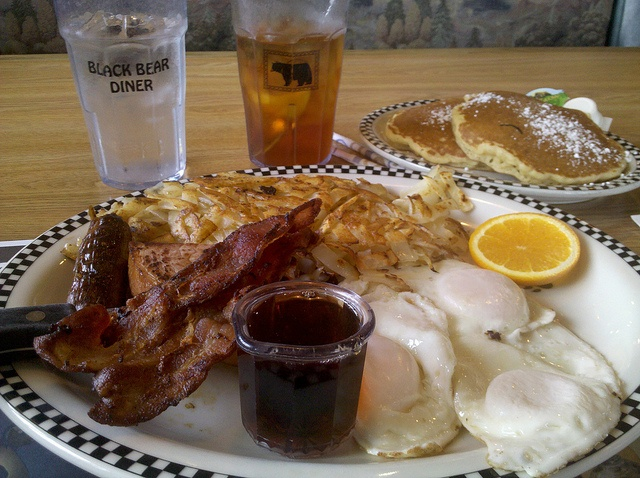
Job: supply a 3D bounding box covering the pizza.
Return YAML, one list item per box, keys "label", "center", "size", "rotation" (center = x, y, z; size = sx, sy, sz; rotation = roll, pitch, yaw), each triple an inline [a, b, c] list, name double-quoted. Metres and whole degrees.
- label: "pizza"
  center: [-0.032, -0.077, 1.706]
  size: [0.895, 0.141, 0.457]
  rotation: [-4, 27, -25]

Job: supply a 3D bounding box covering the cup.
- label: "cup"
  center: [-0.030, 0.285, 1.266]
  size: [0.284, 0.358, 0.229]
  rotation: [-11, 32, -22]
